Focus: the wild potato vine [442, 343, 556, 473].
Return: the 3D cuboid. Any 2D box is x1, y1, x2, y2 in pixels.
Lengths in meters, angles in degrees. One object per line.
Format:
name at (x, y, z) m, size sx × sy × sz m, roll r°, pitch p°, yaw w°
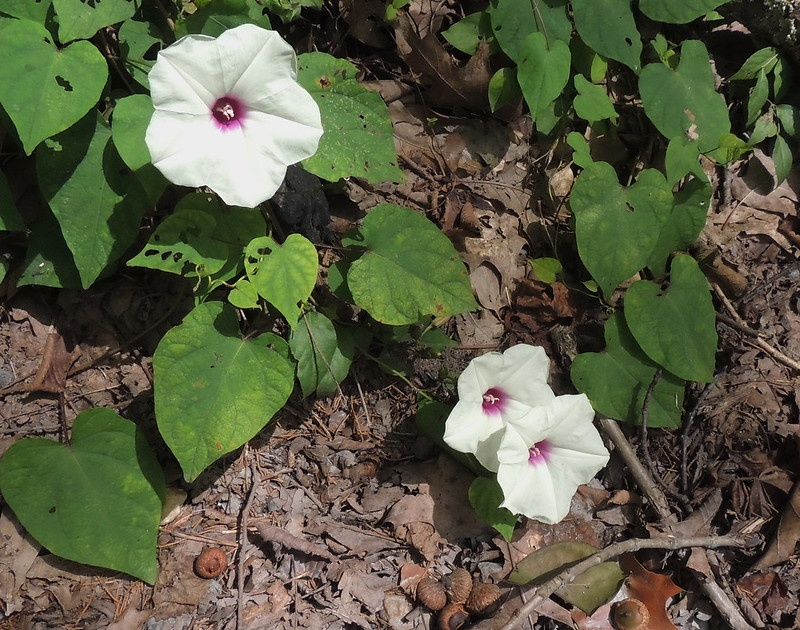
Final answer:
wild potato vine at (0.490, 0.405, 3.878) m, size 0.452 × 0.565 × 0.208 m, roll -1°, pitch 61°, yaw 23°
